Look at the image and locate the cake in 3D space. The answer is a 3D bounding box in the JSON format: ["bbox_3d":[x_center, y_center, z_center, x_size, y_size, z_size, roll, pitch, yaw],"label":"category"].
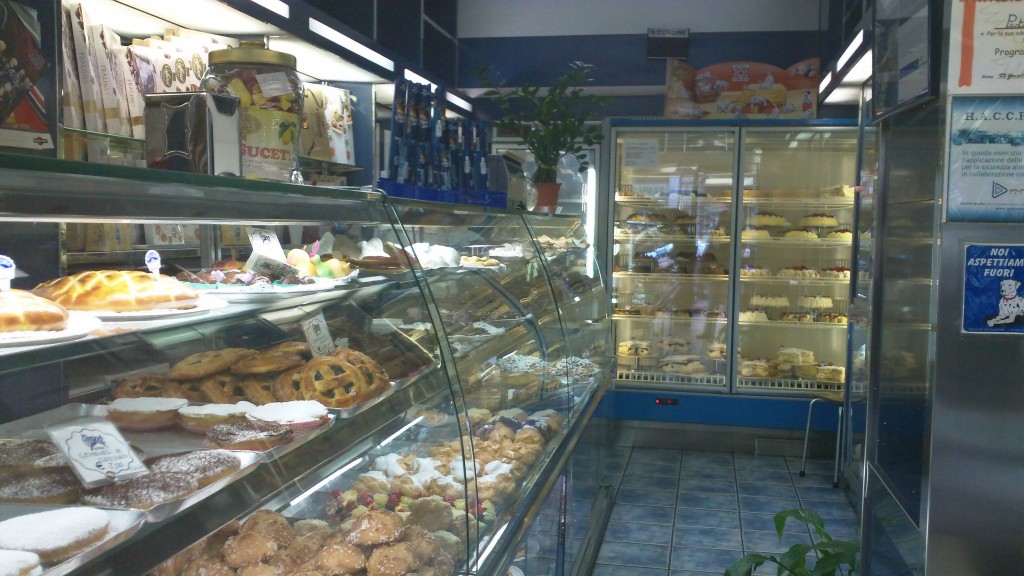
[{"bbox_3d":[1.874,-0.066,5.837,1.901,1.471,0.564,1,3,9],"label":"cake"}]
